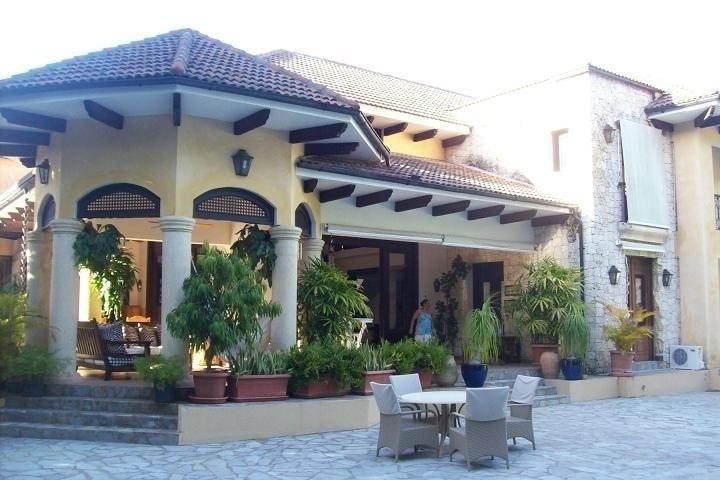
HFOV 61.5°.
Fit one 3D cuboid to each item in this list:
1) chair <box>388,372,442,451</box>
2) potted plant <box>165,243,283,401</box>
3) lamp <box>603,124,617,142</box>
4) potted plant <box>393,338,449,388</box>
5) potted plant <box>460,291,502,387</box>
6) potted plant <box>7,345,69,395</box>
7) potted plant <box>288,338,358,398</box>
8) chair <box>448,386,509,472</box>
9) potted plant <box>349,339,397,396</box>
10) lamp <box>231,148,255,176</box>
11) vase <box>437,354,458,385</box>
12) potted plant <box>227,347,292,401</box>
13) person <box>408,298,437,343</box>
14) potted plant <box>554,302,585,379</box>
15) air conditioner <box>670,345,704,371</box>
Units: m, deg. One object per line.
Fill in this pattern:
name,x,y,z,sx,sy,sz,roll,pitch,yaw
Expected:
chair,1.070,3.261,12.111,1.197,1.617,1.065,-3,-8,8
potted plant,-2.854,1.693,12.193,1.973,3.131,0.856,3,-10,-18
lamp,7.421,-3.189,18.123,0.295,0.535,0.733,-7,-11,34
potted plant,1.370,3.025,14.369,1.281,1.048,1.107,3,-13,-9
potted plant,2.942,2.567,15.103,0.767,2.140,1.112,-6,-11,32
potted plant,-6.837,2.716,12.767,1.092,1.089,1.021,0,-8,29
potted plant,-0.817,2.843,12.915,1.493,1.019,1.122,6,-12,-34
chair,2.067,3.248,10.470,0.971,1.366,0.677,-1,-9,5
potted plant,0.131,2.937,13.790,1.131,1.307,0.943,6,-12,-36
lamp,-2.569,-1.686,13.327,0.545,0.663,0.527,3,-12,-25
vase,2.125,3.229,14.828,0.645,0.777,0.668,2,-1,3
potted plant,-2.154,2.862,12.709,1.428,1.128,0.997,9,-18,-35
person,1.808,2.456,18.185,0.880,1.877,0.561,12,-34,-15
potted plant,5.823,2.758,16.575,0.766,2.079,0.658,7,-12,-38
air conditioner,9.999,3.643,18.646,0.891,0.702,0.441,-3,-10,14
